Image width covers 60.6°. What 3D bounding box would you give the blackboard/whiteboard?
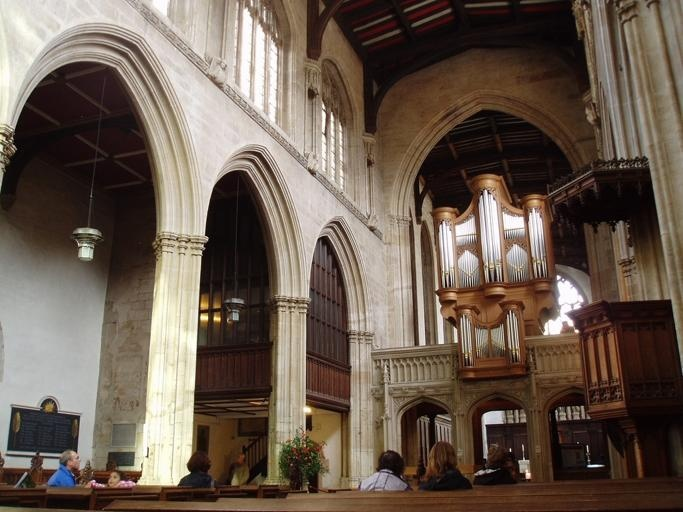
[{"bbox_3d":[-8.165,4.825,16.203,0.202,1.190,2.356,-8,-22,18],"label":"blackboard/whiteboard"}]
